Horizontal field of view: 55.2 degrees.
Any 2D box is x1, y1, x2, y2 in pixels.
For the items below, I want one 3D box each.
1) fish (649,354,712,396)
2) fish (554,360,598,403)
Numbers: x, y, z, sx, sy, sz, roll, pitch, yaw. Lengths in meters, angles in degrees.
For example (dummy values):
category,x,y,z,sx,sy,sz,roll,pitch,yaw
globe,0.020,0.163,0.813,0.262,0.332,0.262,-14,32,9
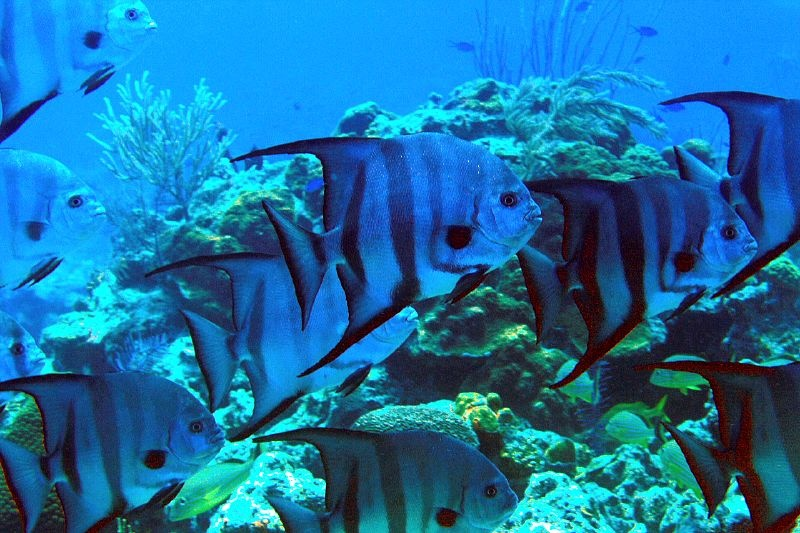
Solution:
category,x,y,z,sx,sy,sz,roll,pitch,yaw
fish,2.758,1.022,7.411,0.719,0.413,0.190,2,8,-15
fish,1.761,1.132,7.483,0.194,0.388,0.636,-10,4,-40
